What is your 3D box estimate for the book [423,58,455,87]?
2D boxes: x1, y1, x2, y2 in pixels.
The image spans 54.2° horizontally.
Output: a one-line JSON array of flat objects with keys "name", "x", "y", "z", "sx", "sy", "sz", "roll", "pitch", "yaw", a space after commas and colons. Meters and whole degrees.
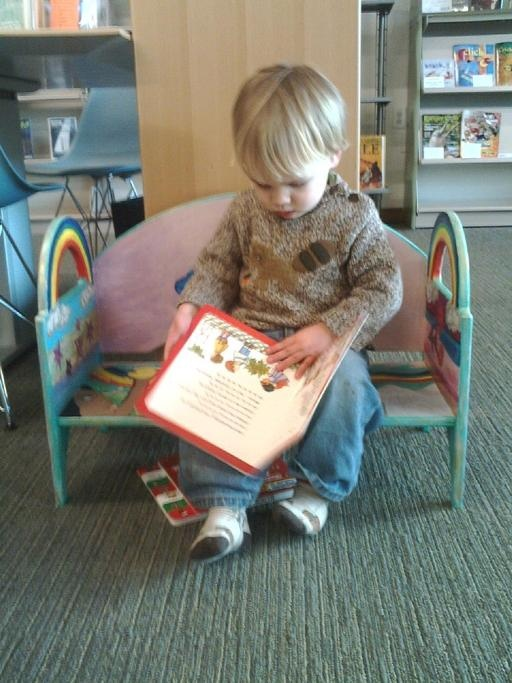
[{"name": "book", "x": 1.105, "y": -1.640, "z": 3.021, "sx": 0.175, "sy": 0.184, "sz": 0.044, "roll": 4, "pitch": 6, "yaw": 0}]

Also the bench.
[{"name": "bench", "x": 0.000, "y": 0.000, "z": 0.921, "sx": 0.680, "sy": 0.482, "sz": 0.364, "roll": 0, "pitch": 17, "yaw": 2}]

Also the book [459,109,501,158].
[{"name": "book", "x": 1.407, "y": -1.322, "z": 3.178, "sx": 0.280, "sy": 0.380, "sz": 0.028, "roll": 0, "pitch": 6, "yaw": -4}]

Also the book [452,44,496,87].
[{"name": "book", "x": 1.330, "y": -1.690, "z": 3.071, "sx": 0.259, "sy": 0.243, "sz": 0.056, "roll": -2, "pitch": 11, "yaw": -1}]

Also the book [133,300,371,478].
[{"name": "book", "x": -0.009, "y": 0.084, "z": 0.691, "sx": 0.227, "sy": 0.120, "sz": 0.266, "roll": 29, "pitch": 51, "yaw": 3}]
